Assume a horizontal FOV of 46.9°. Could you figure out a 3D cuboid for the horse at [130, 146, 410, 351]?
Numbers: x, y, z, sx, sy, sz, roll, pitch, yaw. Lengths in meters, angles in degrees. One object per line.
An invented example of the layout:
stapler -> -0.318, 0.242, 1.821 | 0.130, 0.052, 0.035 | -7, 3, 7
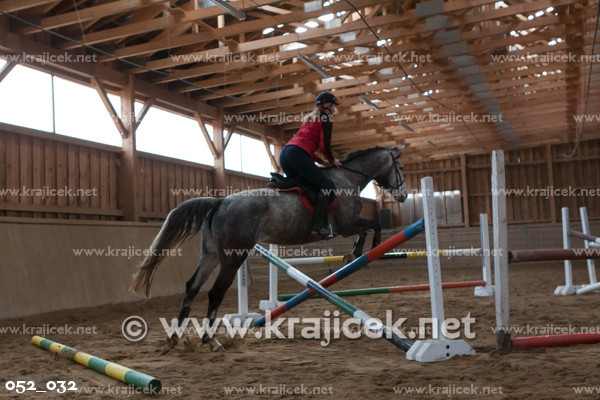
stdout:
horse -> -0.334, 0.632, 11.378 | 4.969, 2.924, 1.145 | -7, 12, -26
